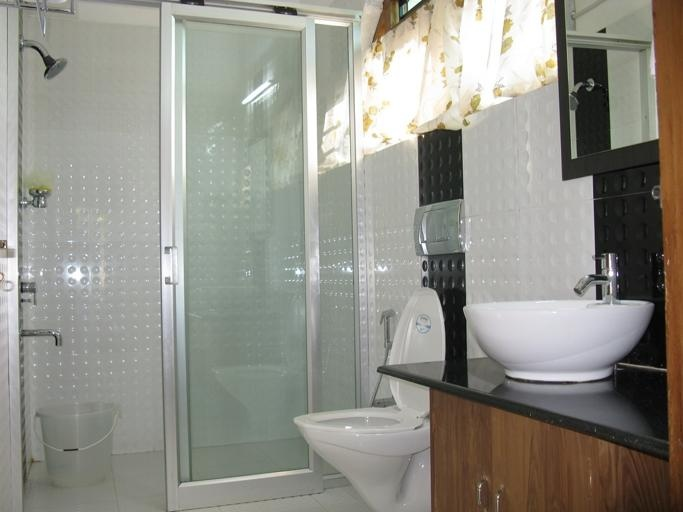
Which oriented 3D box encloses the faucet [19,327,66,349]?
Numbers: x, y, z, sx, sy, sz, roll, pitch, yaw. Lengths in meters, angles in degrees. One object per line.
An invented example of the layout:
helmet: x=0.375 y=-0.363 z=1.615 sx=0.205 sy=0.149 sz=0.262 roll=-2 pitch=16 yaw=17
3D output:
faucet: x=-1.815 y=0.506 z=3.422 sx=0.215 sy=0.139 sz=0.438 roll=-4 pitch=-2 yaw=-27

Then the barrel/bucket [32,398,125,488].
barrel/bucket: x=-1.539 y=1.062 z=3.300 sx=0.426 sy=0.397 sz=0.402 roll=1 pitch=-10 yaw=0

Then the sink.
sink: x=0.642 y=0.251 z=1.645 sx=0.511 sy=0.244 sz=0.216 roll=-5 pitch=-1 yaw=2

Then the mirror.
mirror: x=0.887 y=-0.627 z=1.935 sx=0.072 sy=0.709 sz=0.368 roll=-3 pitch=-1 yaw=-18
